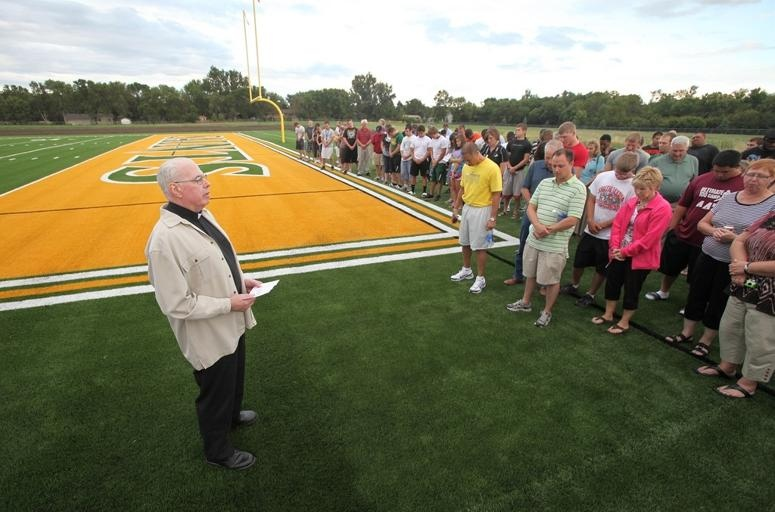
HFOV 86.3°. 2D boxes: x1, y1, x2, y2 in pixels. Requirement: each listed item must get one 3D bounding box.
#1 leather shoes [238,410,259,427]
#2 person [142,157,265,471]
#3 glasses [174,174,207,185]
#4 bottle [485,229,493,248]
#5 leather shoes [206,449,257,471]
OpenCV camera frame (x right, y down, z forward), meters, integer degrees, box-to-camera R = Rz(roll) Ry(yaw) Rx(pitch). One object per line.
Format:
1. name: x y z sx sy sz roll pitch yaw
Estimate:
1. leather shoes: -1.537 1.773 4.634 0.204 0.192 0.109 -14 62 -34
2. person: -1.787 0.593 4.111 0.910 2.986 1.106 -6 22 -19
3. glasses: -1.885 -0.743 4.044 0.113 0.079 0.301 13 23 30
4. bottle: 1.629 -0.262 6.715 0.075 0.310 0.194 16 25 35
5. leather shoes: -1.579 2.050 4.190 0.409 0.163 0.205 1 8 -9
